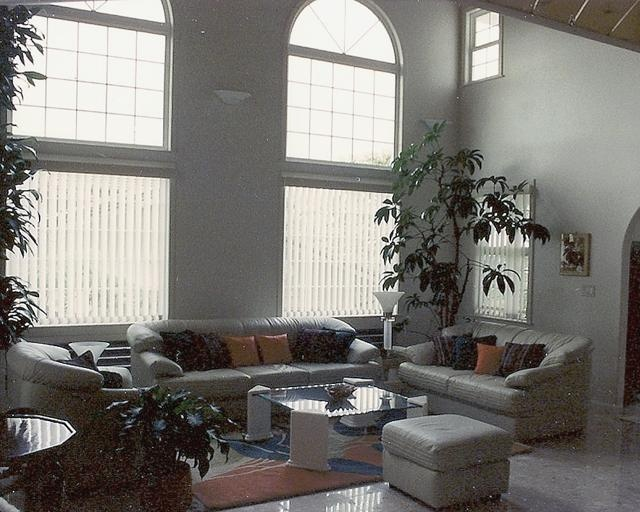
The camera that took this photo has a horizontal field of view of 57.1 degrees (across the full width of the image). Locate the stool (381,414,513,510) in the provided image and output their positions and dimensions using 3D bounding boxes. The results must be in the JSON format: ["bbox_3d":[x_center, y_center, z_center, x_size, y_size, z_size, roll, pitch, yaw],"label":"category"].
[{"bbox_3d":[0.913,1.381,4.159,0.619,0.392,0.638,4,-3,-30],"label":"stool"}]

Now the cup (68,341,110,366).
[{"bbox_3d":[-2.323,0.927,5.866,0.346,0.227,0.334,-1,0,0],"label":"cup"}]

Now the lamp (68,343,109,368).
[{"bbox_3d":[-2.223,0.913,5.715,0.365,0.242,0.352,-1,0,26],"label":"lamp"}]
